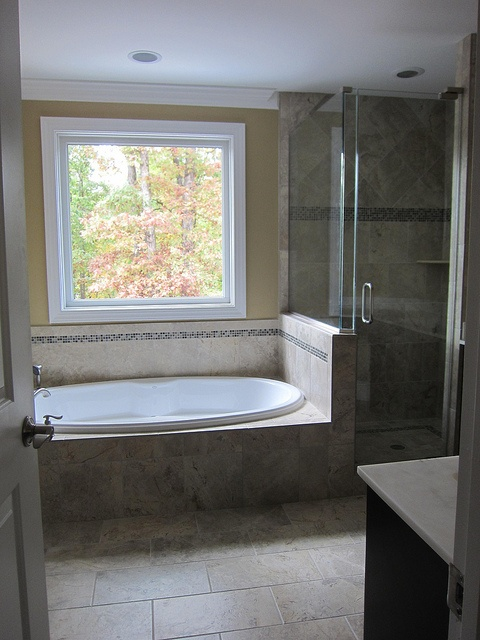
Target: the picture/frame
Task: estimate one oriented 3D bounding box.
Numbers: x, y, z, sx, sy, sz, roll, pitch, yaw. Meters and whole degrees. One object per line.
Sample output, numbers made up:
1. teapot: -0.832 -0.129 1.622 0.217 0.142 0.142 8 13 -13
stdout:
1. picture/frame: -0.757 -0.870 4.693 1.499 1.561 2.090 -2 6 -12
